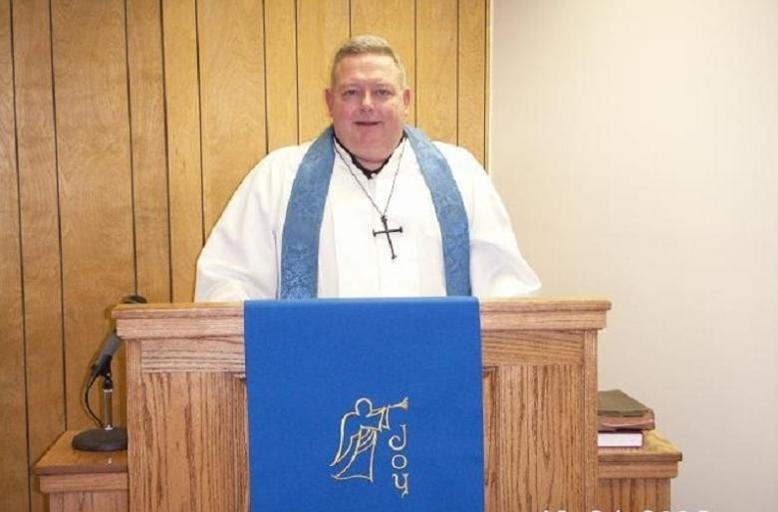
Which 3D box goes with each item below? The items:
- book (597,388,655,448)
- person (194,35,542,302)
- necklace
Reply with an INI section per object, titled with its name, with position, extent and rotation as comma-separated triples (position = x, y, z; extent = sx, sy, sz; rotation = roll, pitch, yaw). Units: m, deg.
[book]
position = 1.076, 0.771, 5.390
extent = 0.239, 0.118, 0.336
rotation = 2, 4, 2
[person]
position = -0.107, -0.175, 5.409
extent = 1.529, 1.657, 0.808
rotation = -1, -10, -7
[necklace]
position = -0.064, -0.290, 5.272
extent = 0.212, 0.638, 0.101
rotation = -10, -19, -4
